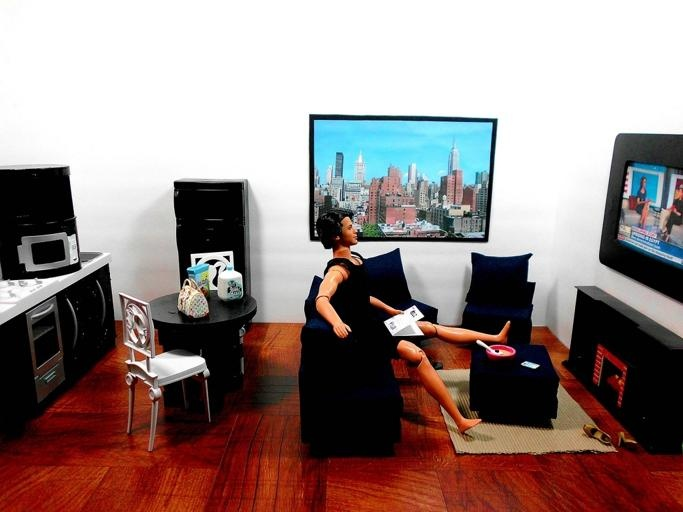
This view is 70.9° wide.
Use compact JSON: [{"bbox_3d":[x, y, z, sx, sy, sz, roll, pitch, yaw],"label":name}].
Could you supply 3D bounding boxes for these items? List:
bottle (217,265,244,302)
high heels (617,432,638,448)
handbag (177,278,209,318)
[{"bbox_3d":[-1.007,0.262,4.334,0.202,0.260,0.113,-9,16,-30],"label":"bottle"},{"bbox_3d":[2.238,1.433,3.746,0.097,0.097,0.055,-8,30,-9],"label":"high heels"},{"bbox_3d":[-1.242,0.339,4.033,0.238,0.302,0.262,-10,17,-34],"label":"handbag"}]
